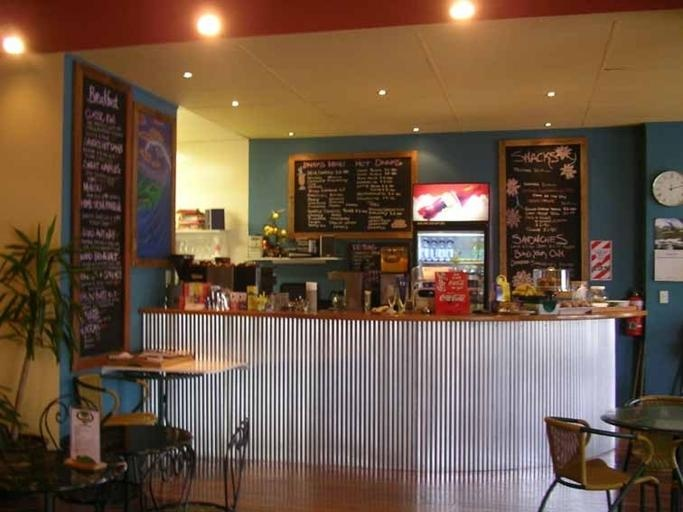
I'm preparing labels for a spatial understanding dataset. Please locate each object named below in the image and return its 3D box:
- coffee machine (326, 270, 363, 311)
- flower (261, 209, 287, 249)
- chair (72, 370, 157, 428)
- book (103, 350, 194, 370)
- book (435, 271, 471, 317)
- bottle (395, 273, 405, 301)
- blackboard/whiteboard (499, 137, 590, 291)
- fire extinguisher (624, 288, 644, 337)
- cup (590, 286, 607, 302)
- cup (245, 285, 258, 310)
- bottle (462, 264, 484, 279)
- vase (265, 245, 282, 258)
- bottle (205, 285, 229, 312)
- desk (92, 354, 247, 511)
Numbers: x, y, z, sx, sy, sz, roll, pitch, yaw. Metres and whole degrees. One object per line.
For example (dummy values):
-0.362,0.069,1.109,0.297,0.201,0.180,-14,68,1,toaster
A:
0.048,0.341,6.794,0.334,0.378,0.379,1,0,11,coffee machine
-0.863,-0.354,8.599,0.331,0.455,0.318,-1,8,-5,flower
-1.959,1.259,5.843,0.603,0.599,0.510,-3,-6,18,chair
-1.757,0.951,6.046,0.767,0.137,0.341,-1,9,-9,book
1.009,0.341,6.060,0.303,0.386,0.231,1,8,7,book
0.575,0.302,6.422,0.104,0.224,0.276,1,9,5,bottle
2.500,-0.570,8.128,1.046,1.719,0.399,3,8,20,blackboard/whiteboard
3.426,0.713,7.759,0.201,0.546,0.493,4,9,25,fire extinguisher
2.630,0.388,6.912,0.183,0.186,0.183,1,0,0,cup
-0.870,0.402,6.475,0.111,0.217,0.172,-1,8,-9,cup
1.369,0.164,6.987,0.147,0.153,0.083,0,-6,-9,bottle
-0.877,-0.065,8.474,0.230,0.126,0.106,-1,8,-8,vase
-1.186,0.410,6.436,0.289,0.204,0.194,6,10,35,bottle
-1.622,1.607,6.112,1.039,1.389,1.384,0,-2,19,desk
